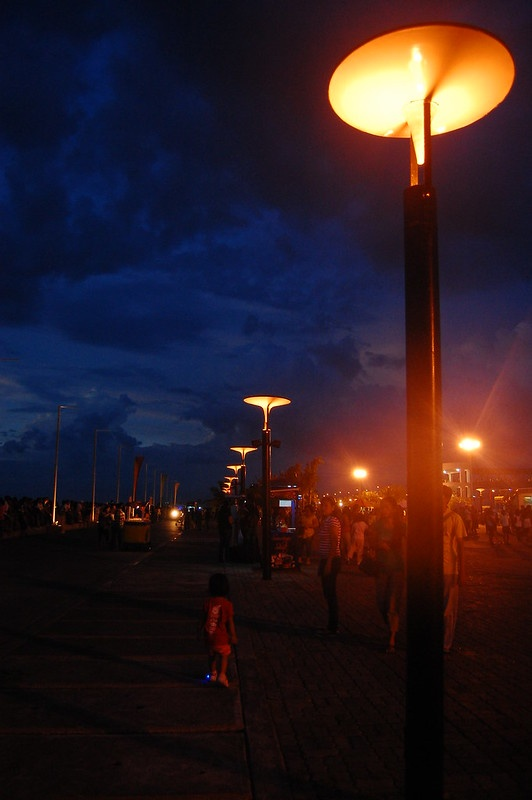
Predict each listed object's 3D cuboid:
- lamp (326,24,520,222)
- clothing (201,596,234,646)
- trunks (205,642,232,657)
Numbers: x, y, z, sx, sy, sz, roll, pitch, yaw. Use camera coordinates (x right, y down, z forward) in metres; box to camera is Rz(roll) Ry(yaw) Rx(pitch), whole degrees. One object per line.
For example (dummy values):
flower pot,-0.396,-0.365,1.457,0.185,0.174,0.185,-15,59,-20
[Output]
lamp,0.719,-1.299,3.188,0.849,0.505,0.773,1,-6,4
clothing,-0.482,2.144,6.460,0.288,0.468,0.181,-5,-19,18
trunks,-0.455,2.406,6.442,0.186,0.149,0.186,-1,-6,27
